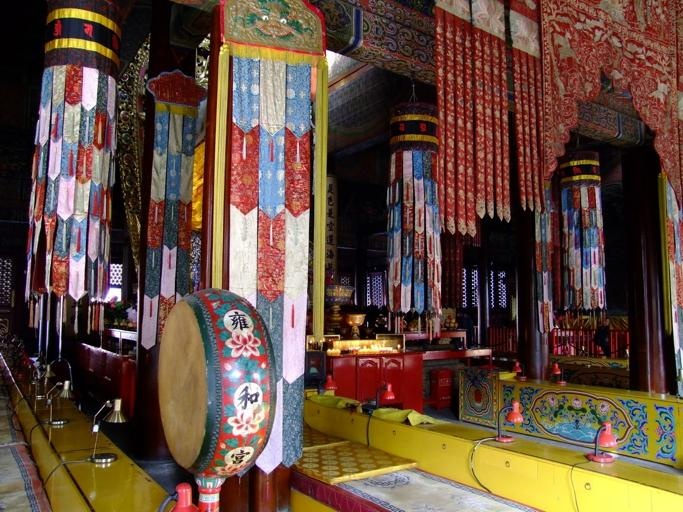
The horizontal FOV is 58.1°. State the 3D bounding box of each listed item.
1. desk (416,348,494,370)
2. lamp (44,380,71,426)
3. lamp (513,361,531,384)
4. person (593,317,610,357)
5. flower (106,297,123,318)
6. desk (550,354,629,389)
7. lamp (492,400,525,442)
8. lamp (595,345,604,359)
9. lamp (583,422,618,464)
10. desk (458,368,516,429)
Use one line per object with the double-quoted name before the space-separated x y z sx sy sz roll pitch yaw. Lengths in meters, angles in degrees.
"desk" 1.739 1.486 9.058 0.693 0.261 1.967 -5 -9 35
"lamp" -2.419 1.240 5.245 0.229 0.402 0.139 2 14 -41
"lamp" 2.148 1.380 7.335 0.164 0.265 0.160 5 -12 -3
"person" 4.231 1.267 9.976 0.237 0.671 1.314 -3 -8 23
"flower" -3.330 0.773 8.998 0.259 0.318 0.321 -5 2 -5
"desk" 3.379 1.520 8.200 0.707 0.436 0.505 4 -4 34
"lamp" 1.291 1.281 4.759 0.192 0.325 0.135 2 -7 31
"lamp" 4.081 1.513 9.738 0.045 0.203 0.208 15 -15 32
"lamp" 1.805 1.263 4.215 0.140 0.222 0.145 -9 3 39
"desk" 1.758 1.703 7.346 0.428 0.896 0.836 4 -9 -18
